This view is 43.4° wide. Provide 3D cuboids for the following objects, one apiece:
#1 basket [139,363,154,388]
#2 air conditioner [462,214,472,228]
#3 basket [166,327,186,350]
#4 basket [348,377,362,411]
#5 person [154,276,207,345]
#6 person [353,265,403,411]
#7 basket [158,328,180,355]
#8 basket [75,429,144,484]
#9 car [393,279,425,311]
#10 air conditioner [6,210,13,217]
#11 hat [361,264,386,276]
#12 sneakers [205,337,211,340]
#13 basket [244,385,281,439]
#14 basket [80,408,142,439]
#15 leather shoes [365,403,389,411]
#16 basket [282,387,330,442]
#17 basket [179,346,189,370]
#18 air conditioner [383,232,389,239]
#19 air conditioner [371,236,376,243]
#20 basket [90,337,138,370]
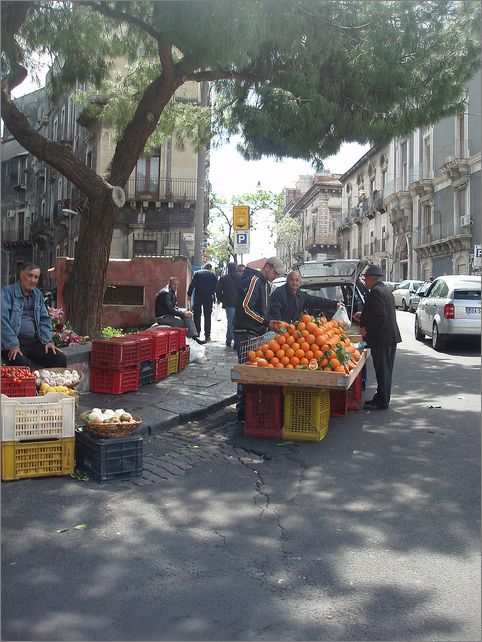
[{"bbox_3d":[-1.300,0.753,8.347,0.237,0.215,0.430,-1,-4,-9],"label":"basket"},{"bbox_3d":[12.801,-5.653,34.642,0.327,0.784,0.706,1,-3,-8],"label":"air conditioner"},{"bbox_3d":[-1.036,0.199,9.773,0.223,0.346,0.445,0,3,0],"label":"basket"},{"bbox_3d":[1.377,0.877,7.405,0.162,0.454,0.466,1,3,10],"label":"basket"},{"bbox_3d":[-1.192,-0.128,11.456,1.012,1.785,0.672,0,7,-9],"label":"person"},{"bbox_3d":[1.743,0.201,7.667,0.502,1.785,0.526,2,2,16],"label":"person"},{"bbox_3d":[-1.081,0.308,9.291,0.241,0.373,0.461,0,3,1],"label":"basket"},{"bbox_3d":[-0.976,1.020,4.519,0.269,0.272,0.485,1,-1,-20],"label":"basket"},{"bbox_3d":[7.503,-1.107,27.307,0.917,1.101,2.299,-1,11,1],"label":"car"},{"bbox_3d":[-19.309,-8.973,51.110,0.177,0.651,1.244,-1,4,-44],"label":"air conditioner"},{"bbox_3d":[1.672,-0.626,7.726,0.150,0.122,0.233,1,0,-3],"label":"hat"},{"bbox_3d":[-0.795,0.441,14.580,0.055,0.072,0.115,-2,-5,4],"label":"sneakers"},{"bbox_3d":[0.252,0.871,6.021,0.366,0.694,0.444,0,-3,8],"label":"basket"},{"bbox_3d":[-0.982,0.795,4.574,0.433,0.182,0.383,1,3,-17],"label":"basket"},{"bbox_3d":[1.659,1.045,7.526,0.250,0.142,0.111,-3,-1,18],"label":"leather shoes"},{"bbox_3d":[0.642,0.758,6.037,0.334,0.688,0.709,0,-3,9],"label":"basket"},{"bbox_3d":[-0.937,0.622,9.965,0.241,0.224,0.488,0,10,0],"label":"basket"},{"bbox_3d":[11.622,-6.897,49.181,0.321,0.479,0.369,1,1,8],"label":"air conditioner"},{"bbox_3d":[11.319,-6.976,52.286,0.294,0.436,0.330,-2,4,-16],"label":"air conditioner"},{"bbox_3d":[-1.645,0.433,7.904,0.534,0.358,0.488,3,3,24],"label":"basket"}]
